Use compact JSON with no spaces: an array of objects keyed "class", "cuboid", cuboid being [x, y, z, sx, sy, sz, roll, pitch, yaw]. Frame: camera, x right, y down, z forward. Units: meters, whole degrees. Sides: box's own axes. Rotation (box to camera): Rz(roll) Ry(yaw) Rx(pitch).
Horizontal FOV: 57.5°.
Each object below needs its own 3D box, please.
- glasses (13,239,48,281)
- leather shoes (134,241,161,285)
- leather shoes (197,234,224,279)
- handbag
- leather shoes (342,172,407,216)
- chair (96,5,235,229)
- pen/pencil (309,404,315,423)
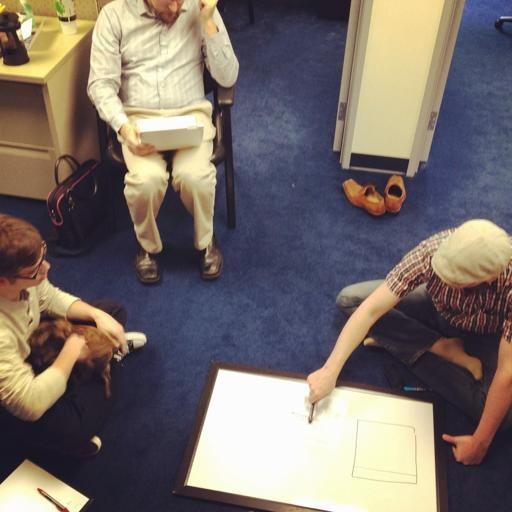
[{"class":"glasses","cuboid":[-0.537,0.010,1.112,0.061,0.022,0.069,-22,22,12]},{"class":"leather shoes","cuboid":[-0.407,0.025,1.801,0.057,0.126,0.182,-4,43,-9]},{"class":"leather shoes","cuboid":[-0.179,0.006,1.798,0.052,0.077,0.198,-2,47,0]},{"class":"handbag","cuboid":[-0.680,-0.206,1.809,0.111,0.243,0.264,14,53,14]},{"class":"leather shoes","cuboid":[0.529,-0.262,2.081,0.163,0.104,0.265,-37,61,-22]},{"class":"chair","cuboid":[-0.326,-0.514,1.785,0.416,0.811,0.561,0,70,-1]},{"class":"pen/pencil","cuboid":[0.160,0.452,1.332,0.019,0.083,0.017,-3,24,3]}]
